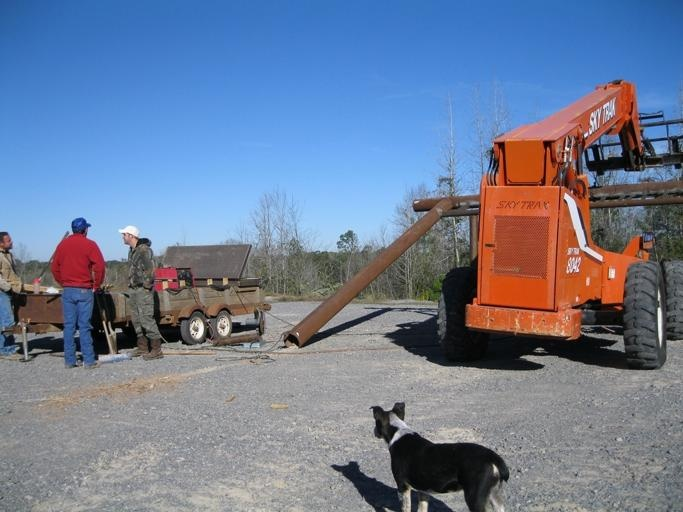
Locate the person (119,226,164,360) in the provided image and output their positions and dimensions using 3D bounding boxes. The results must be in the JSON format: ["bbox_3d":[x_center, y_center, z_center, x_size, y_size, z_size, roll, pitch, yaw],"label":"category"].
[{"bbox_3d":[-3.870,0.699,10.136,0.676,2.539,0.777,0,-4,-39],"label":"person"}]

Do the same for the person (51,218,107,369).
[{"bbox_3d":[-4.735,0.637,9.450,0.900,2.684,0.704,-3,-3,10],"label":"person"}]
